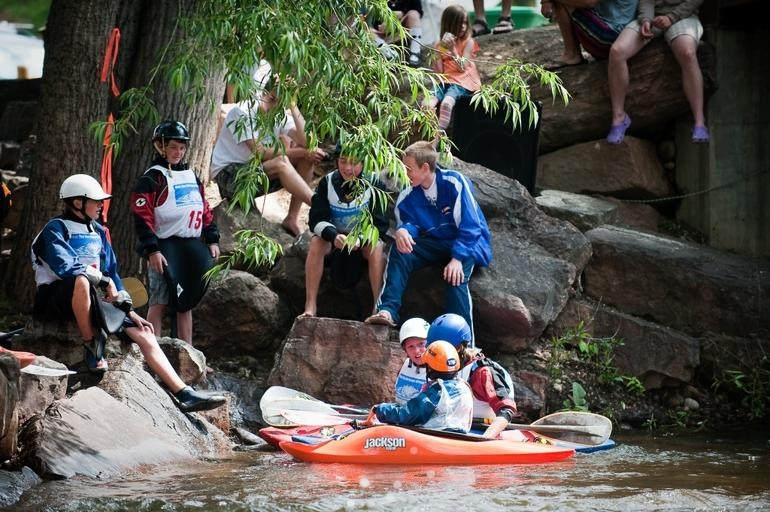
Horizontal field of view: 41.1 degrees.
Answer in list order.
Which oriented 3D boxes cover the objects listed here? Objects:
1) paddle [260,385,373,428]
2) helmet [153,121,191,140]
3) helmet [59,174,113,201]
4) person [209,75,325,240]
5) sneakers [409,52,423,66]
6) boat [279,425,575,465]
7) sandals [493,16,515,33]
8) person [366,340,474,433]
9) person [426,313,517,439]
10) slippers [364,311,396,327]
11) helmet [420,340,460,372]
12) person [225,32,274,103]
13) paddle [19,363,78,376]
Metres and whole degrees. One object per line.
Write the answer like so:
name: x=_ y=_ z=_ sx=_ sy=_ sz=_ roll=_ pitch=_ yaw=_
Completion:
paddle: x=-0.805 y=1.629 z=10.844 sx=0.798 sy=0.226 sz=0.516 roll=11 pitch=14 yaw=-11
helmet: x=-2.303 y=-1.318 z=10.954 sx=0.298 sy=0.134 sz=0.238 roll=-1 pitch=2 yaw=9
helmet: x=-3.053 y=-0.676 z=10.352 sx=0.390 sy=0.220 sz=0.280 roll=0 pitch=1 yaw=2
person: x=-1.339 y=-1.098 z=11.478 sx=1.420 sy=1.878 sz=0.777 roll=17 pitch=37 yaw=6
sneakers: x=0.409 y=-2.776 z=14.610 sx=0.164 sy=0.204 sz=0.417 roll=3 pitch=2 yaw=1
boat: x=0.384 y=1.870 z=10.077 sx=2.938 sy=0.473 sz=0.949 roll=-1 pitch=-5 yaw=3
sandals: x=1.882 y=-3.657 z=16.294 sx=0.312 sy=0.287 sz=0.210 roll=3 pitch=2 yaw=4
person: x=0.369 y=1.318 z=10.350 sx=0.963 sy=1.079 sz=0.795 roll=1 pitch=12 yaw=20
person: x=0.867 y=1.237 z=10.426 sx=0.510 sy=1.066 sz=0.842 roll=-18 pitch=-10 yaw=-13
slippers: x=-0.060 y=0.669 z=11.185 sx=0.254 sy=0.131 sz=0.160 roll=2 pitch=-8 yaw=29
helmet: x=0.551 y=0.971 z=9.954 sx=0.226 sy=0.189 sz=0.337 roll=4 pitch=15 yaw=-21
person: x=-1.311 y=-1.832 z=9.887 sx=0.175 sy=0.751 sz=0.558 roll=9 pitch=21 yaw=-44
paddle: x=-3.270 y=1.094 z=9.786 sx=0.438 sy=0.104 sz=0.406 roll=2 pitch=2 yaw=-21
